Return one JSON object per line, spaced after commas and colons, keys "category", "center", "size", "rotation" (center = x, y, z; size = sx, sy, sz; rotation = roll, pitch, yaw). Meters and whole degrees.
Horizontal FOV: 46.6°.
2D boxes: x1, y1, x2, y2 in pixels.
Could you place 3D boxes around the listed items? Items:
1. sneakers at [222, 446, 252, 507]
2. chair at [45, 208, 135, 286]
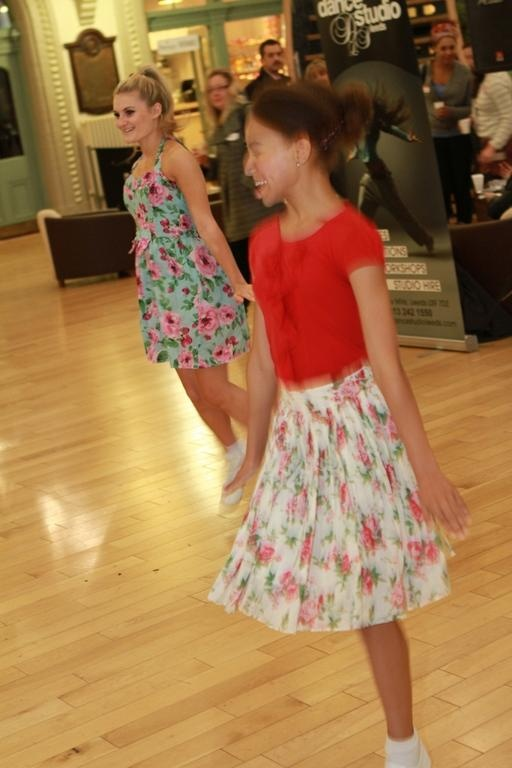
{"category": "sneakers", "center": [-0.115, 0.468, 2.924], "size": [0.131, 0.314, 0.096], "rotation": [0, 26, 12]}
{"category": "chair", "center": [-2.583, -2.159, 9.358], "size": [1.448, 1.074, 1.465], "rotation": [-10, 12, -7]}
